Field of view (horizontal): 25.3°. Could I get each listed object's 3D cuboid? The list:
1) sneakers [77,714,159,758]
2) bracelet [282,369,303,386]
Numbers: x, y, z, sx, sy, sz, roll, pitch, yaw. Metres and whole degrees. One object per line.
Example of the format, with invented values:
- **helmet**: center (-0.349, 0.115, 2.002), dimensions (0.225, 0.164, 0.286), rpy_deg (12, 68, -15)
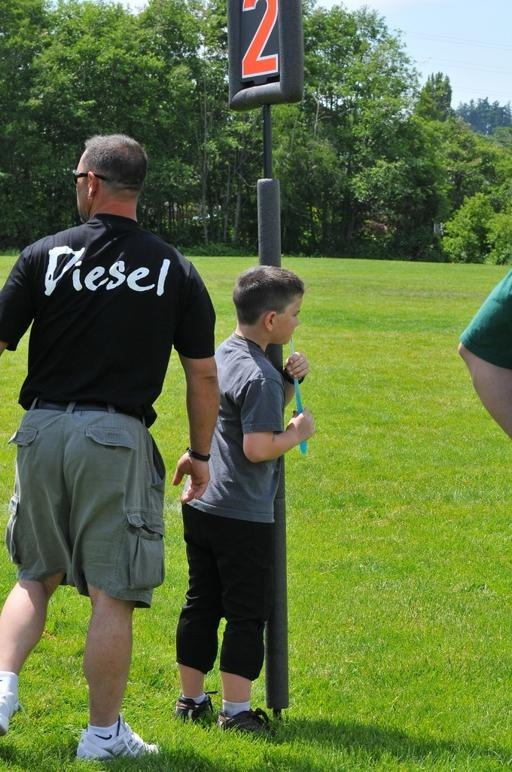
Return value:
- **sneakers**: center (-0.453, 1.225, 4.018), dimensions (0.308, 0.131, 0.115), rpy_deg (4, -5, -27)
- **bracelet**: center (0.140, -0.033, 4.738), dimensions (0.068, 0.027, 0.073), rpy_deg (3, -20, 14)
